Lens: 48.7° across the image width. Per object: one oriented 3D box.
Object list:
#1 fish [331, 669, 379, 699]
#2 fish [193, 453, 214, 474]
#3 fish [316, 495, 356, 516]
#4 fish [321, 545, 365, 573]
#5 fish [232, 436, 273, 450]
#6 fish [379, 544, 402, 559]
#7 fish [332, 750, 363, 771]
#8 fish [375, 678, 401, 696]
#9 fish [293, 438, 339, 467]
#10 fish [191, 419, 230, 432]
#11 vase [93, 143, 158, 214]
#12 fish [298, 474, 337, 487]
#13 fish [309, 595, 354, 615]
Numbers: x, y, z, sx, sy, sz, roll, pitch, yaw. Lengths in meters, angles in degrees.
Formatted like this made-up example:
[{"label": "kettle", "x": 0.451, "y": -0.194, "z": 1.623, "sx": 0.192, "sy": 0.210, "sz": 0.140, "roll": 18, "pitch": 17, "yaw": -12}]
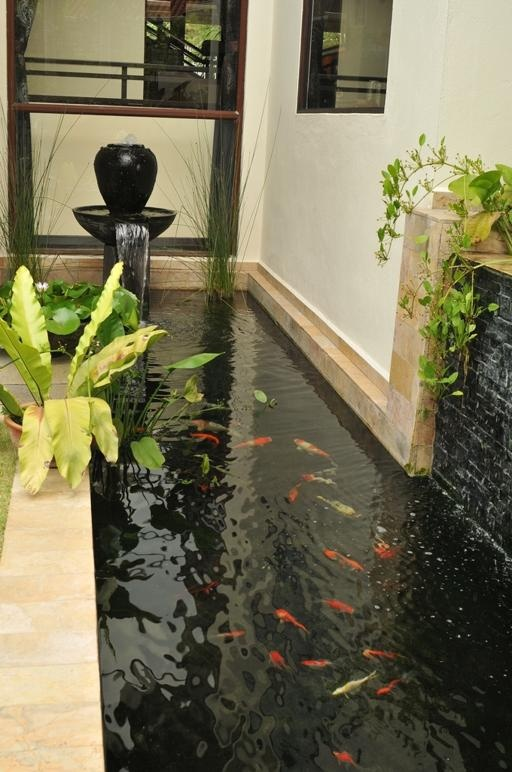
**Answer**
[{"label": "fish", "x": 0.162, "y": 0.497, "z": 0.958, "sx": 0.085, "sy": 0.023, "sz": 0.039, "roll": -15, "pitch": 66, "yaw": -22}, {"label": "fish", "x": -0.164, "y": 0.245, "z": 1.781, "sx": 0.034, "sy": 0.048, "sz": 0.076, "roll": 15, "pitch": -8, "yaw": 1}, {"label": "fish", "x": 0.226, "y": 0.342, "z": 1.609, "sx": 0.033, "sy": 0.033, "sz": 0.119, "roll": -39, "pitch": 39, "yaw": -27}, {"label": "fish", "x": 0.209, "y": 0.413, "z": 1.354, "sx": 0.118, "sy": 0.007, "sz": 0.041, "roll": 13, "pitch": 16, "yaw": 38}, {"label": "fish", "x": -0.008, "y": 0.196, "z": 1.990, "sx": 0.152, "sy": 0.017, "sz": 0.073, "roll": -2, "pitch": 14, "yaw": -23}, {"label": "fish", "x": 0.323, "y": 0.407, "z": 1.393, "sx": 0.057, "sy": 0.005, "sz": 0.073, "roll": 7, "pitch": 13, "yaw": 15}, {"label": "fish", "x": 0.124, "y": 0.517, "z": 0.785, "sx": 0.024, "sy": 0.003, "sz": 0.036, "roll": -3, "pitch": 14, "yaw": -26}, {"label": "fish", "x": 0.221, "y": 0.503, "z": 0.945, "sx": 0.063, "sy": 0.005, "sz": 0.019, "roll": -9, "pitch": 18, "yaw": -43}, {"label": "fish", "x": 0.196, "y": 0.219, "z": 1.966, "sx": 0.175, "sy": 0.049, "sz": 0.071, "roll": 26, "pitch": 23, "yaw": 4}, {"label": "fish", "x": -0.178, "y": 0.149, "z": 2.094, "sx": 0.148, "sy": 0.017, "sz": 0.097, "roll": 9, "pitch": 14, "yaw": 24}, {"label": "vase", "x": -0.881, "y": -1.433, "z": 3.800, "sx": 0.454, "sy": 0.499, "sz": 0.461, "roll": 8, "pitch": 28, "yaw": 1}, {"label": "fish", "x": 0.197, "y": 0.289, "z": 1.762, "sx": 0.101, "sy": 0.010, "sz": 0.057, "roll": 5, "pitch": 13, "yaw": 8}, {"label": "fish", "x": 0.158, "y": 0.457, "z": 1.186, "sx": 0.087, "sy": 0.023, "sz": 0.034, "roll": 17, "pitch": 36, "yaw": 8}]
